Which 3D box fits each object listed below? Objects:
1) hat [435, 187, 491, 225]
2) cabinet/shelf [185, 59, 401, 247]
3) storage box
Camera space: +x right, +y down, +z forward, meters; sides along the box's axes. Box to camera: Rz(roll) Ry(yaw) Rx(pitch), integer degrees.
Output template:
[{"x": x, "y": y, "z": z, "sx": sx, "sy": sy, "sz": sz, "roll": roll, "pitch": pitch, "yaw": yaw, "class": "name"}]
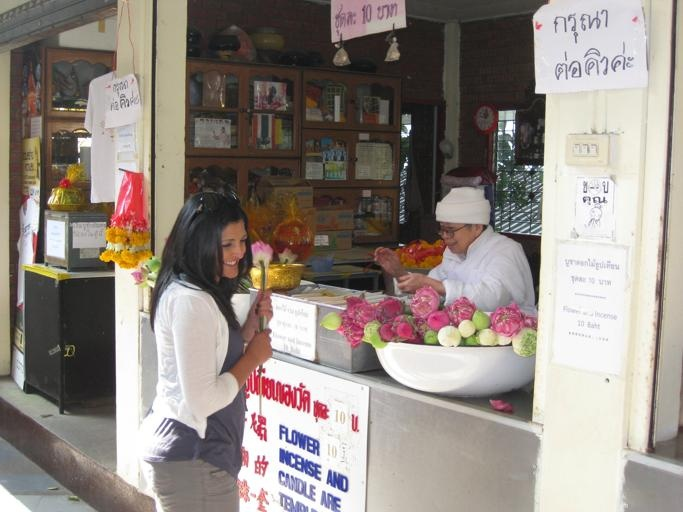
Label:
[{"x": 0.579, "y": -0.249, "z": 2.959, "sx": 0.216, "sy": 0.164, "sz": 0.167, "roll": 0, "pitch": 9, "yaw": 10, "class": "hat"}, {"x": -0.467, "y": -1.039, "z": 5.718, "sx": 1.925, "sy": 1.583, "sz": 0.648, "roll": -1, "pitch": 1, "yaw": -30, "class": "cabinet/shelf"}, {"x": -2.108, "y": -0.116, "z": 4.936, "sx": 0.424, "sy": 0.531, "sz": 0.684, "roll": -1, "pitch": 5, "yaw": -25, "class": "storage box"}]
